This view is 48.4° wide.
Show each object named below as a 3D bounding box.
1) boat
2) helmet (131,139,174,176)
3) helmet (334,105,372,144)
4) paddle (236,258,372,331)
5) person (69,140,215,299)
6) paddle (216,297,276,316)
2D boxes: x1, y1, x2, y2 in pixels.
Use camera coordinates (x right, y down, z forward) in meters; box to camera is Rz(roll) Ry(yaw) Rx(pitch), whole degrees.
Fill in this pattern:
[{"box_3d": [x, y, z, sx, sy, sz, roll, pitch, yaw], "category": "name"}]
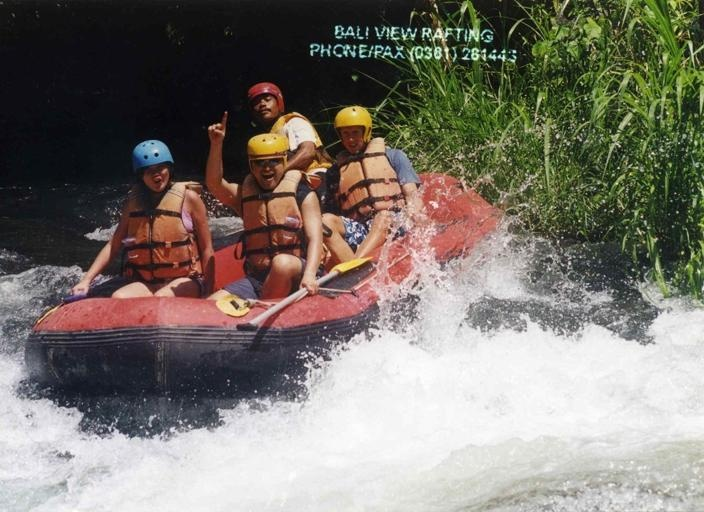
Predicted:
[{"box_3d": [-0.562, 0.356, 5.941, 2.771, 0.519, 1.698, -28, 36, -31], "category": "boat"}, {"box_3d": [-1.560, -0.796, 6.052, 0.280, 0.216, 0.312, -17, 19, -16], "category": "helmet"}, {"box_3d": [0.041, -1.137, 6.833, 0.252, 0.254, 0.324, -6, 39, 45], "category": "helmet"}, {"box_3d": [-0.383, 0.305, 5.915, 0.153, 0.052, 1.035, -21, 9, 41], "category": "paddle"}, {"box_3d": [-1.605, -0.129, 5.985, 1.007, 1.528, 0.831, -5, 6, -25], "category": "person"}, {"box_3d": [-0.812, 0.358, 5.729, 0.285, 0.060, 0.193, -2, 34, -36], "category": "paddle"}]
